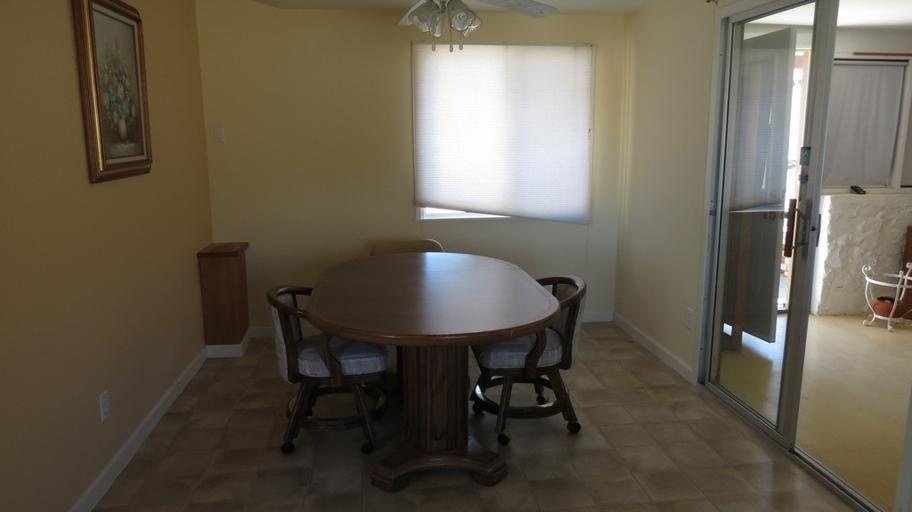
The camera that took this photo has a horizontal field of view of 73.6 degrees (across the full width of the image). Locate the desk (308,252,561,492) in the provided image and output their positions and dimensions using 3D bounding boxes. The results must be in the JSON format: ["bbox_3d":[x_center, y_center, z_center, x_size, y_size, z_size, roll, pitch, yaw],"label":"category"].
[{"bbox_3d":[-0.177,0.658,4.793,1.670,1.061,2.235,-2,13,-6],"label":"desk"}]

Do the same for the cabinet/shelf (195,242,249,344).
[{"bbox_3d":[-2.371,0.386,6.266,0.381,0.974,0.447,-2,16,3],"label":"cabinet/shelf"}]

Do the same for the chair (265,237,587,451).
[{"bbox_3d":[-0.307,0.848,5.590,2.008,0.728,1.700,-1,11,-3],"label":"chair"}]
